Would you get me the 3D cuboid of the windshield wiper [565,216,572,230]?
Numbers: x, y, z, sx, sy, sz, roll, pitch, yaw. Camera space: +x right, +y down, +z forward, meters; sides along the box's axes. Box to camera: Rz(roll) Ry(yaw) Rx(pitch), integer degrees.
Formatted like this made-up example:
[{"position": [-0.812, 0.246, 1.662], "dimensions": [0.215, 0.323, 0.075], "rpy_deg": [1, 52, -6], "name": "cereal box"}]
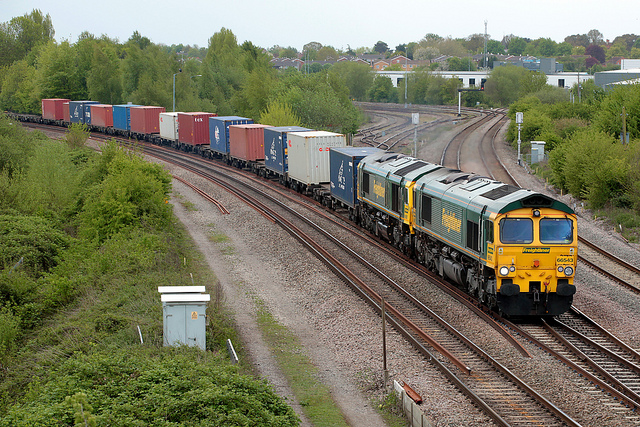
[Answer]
[{"position": [12.343, 0.464, 30.865], "dimensions": [0.076, 0.721, 0.076], "rpy_deg": [-22, 7, 0], "name": "windshield wiper"}]
